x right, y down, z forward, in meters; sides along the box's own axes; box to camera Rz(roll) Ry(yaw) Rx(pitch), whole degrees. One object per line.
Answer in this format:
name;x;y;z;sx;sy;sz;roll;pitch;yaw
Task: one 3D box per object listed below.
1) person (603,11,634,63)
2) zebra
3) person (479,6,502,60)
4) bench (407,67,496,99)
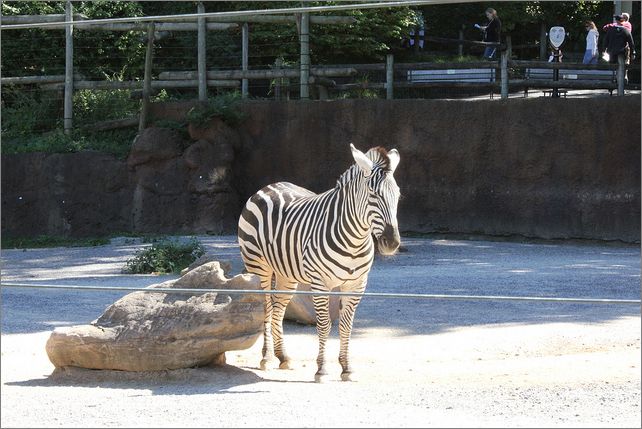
person;7.745;-4.453;35.425;0.607;1.309;0.680;14;-21;-30
zebra;-0.035;0.865;25.009;3.060;4.237;0.952;3;7;24
person;4.657;-4.938;37.511;0.536;1.419;1.783;1;6;6
bench;3.392;-3.413;35.632;2.260;0.715;0.694;1;6;6
